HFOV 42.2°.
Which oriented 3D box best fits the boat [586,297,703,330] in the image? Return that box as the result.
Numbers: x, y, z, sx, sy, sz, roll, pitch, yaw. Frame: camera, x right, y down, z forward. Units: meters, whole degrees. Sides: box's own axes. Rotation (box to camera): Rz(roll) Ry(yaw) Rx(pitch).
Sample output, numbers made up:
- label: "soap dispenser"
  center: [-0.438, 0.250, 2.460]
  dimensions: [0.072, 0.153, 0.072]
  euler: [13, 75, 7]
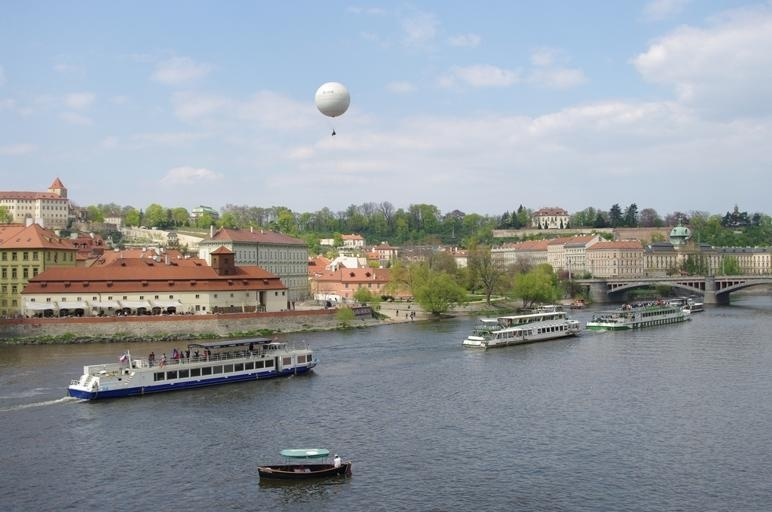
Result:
- label: "boat"
  center: [32.672, 7.757, 129.174]
  dimensions: [5.615, 2.660, 17.975]
  euler: [-5, -3, 43]

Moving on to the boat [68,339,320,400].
- label: "boat"
  center: [-14.688, 11.027, 93.646]
  dimensions: [28.259, 3.939, 6.768]
  euler: [-2, 1, -30]

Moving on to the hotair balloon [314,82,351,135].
- label: "hotair balloon"
  center: [-5.718, -15.014, 101.638]
  dimensions: [4.204, 4.942, 3.810]
  euler: [-3, -5, -2]

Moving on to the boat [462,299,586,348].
- label: "boat"
  center: [15.471, 8.310, 113.074]
  dimensions: [16.469, 2.918, 2.247]
  euler: [-1, -3, -41]

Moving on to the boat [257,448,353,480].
- label: "boat"
  center: [-6.195, 15.486, 73.686]
  dimensions: [6.218, 2.026, 4.846]
  euler: [0, 6, 16]
